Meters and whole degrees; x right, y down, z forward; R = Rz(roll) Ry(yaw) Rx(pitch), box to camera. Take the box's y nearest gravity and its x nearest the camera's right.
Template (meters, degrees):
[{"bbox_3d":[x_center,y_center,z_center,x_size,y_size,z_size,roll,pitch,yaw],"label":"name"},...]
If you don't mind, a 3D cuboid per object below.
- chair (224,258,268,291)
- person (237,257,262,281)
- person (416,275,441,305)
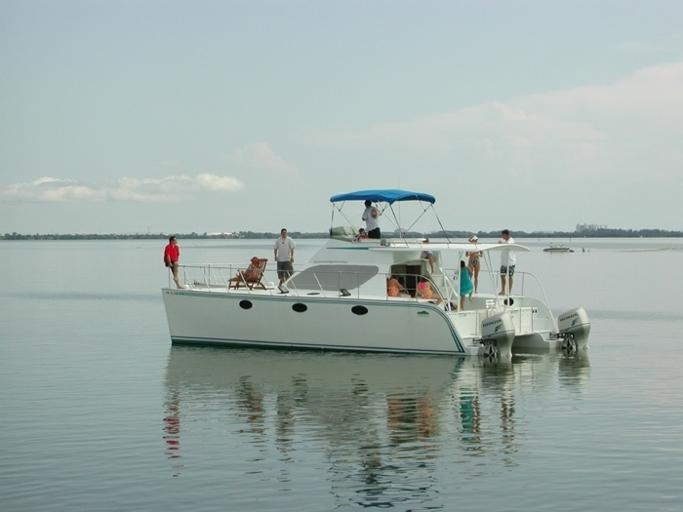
[{"bbox_3d":[-2.665,0.461,27.637,1.144,0.948,0.752,0,-1,-7],"label":"chair"},{"bbox_3d":[-2.472,0.392,27.241,0.747,0.637,0.531,-1,-5,25],"label":"person"},{"bbox_3d":[2.246,0.764,25.452,0.626,0.653,1.547,-1,9,-1],"label":"person"}]
